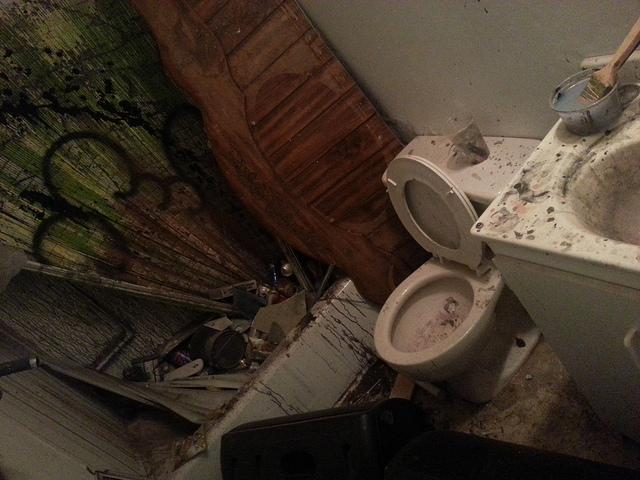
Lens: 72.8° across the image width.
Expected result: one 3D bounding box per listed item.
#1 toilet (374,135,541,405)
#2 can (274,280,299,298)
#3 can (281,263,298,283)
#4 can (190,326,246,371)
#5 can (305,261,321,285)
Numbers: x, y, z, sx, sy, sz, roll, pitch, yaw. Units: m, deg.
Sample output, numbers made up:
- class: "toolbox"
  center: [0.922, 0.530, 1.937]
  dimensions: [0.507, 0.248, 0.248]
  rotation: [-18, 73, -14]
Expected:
- class: "toilet"
  center: [0.632, 0.085, 2.221]
  dimensions: [0.991, 1.161, 0.753]
  rotation: [-61, 36, 8]
- class: "can"
  center: [-0.219, 0.315, 2.799]
  dimensions: [0.139, 0.057, 0.087]
  rotation: [19, 94, 25]
- class: "can"
  center: [-0.194, 0.205, 2.774]
  dimensions: [0.081, 0.093, 0.084]
  rotation: [29, 91, 24]
- class: "can"
  center: [-0.617, 0.647, 2.730]
  dimensions: [0.251, 0.286, 0.261]
  rotation: [11, 35, 24]
- class: "can"
  center: [-0.044, 0.205, 2.730]
  dimensions: [0.080, 0.029, 0.136]
  rotation: [-22, 86, 12]
